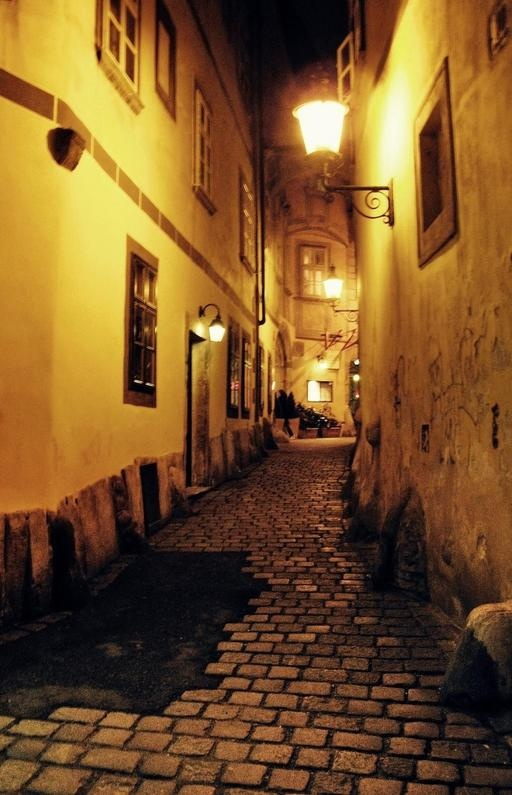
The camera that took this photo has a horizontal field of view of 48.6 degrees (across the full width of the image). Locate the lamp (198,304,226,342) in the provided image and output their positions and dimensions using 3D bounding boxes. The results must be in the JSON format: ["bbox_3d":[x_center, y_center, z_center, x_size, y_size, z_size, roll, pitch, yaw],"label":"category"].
[{"bbox_3d":[-0.688,-1.203,8.990,0.347,0.683,1.165,0,-3,-1],"label":"lamp"}]

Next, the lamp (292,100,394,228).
[{"bbox_3d":[0.715,-1.840,4.658,0.677,1.350,0.470,-3,-25,7],"label":"lamp"}]
